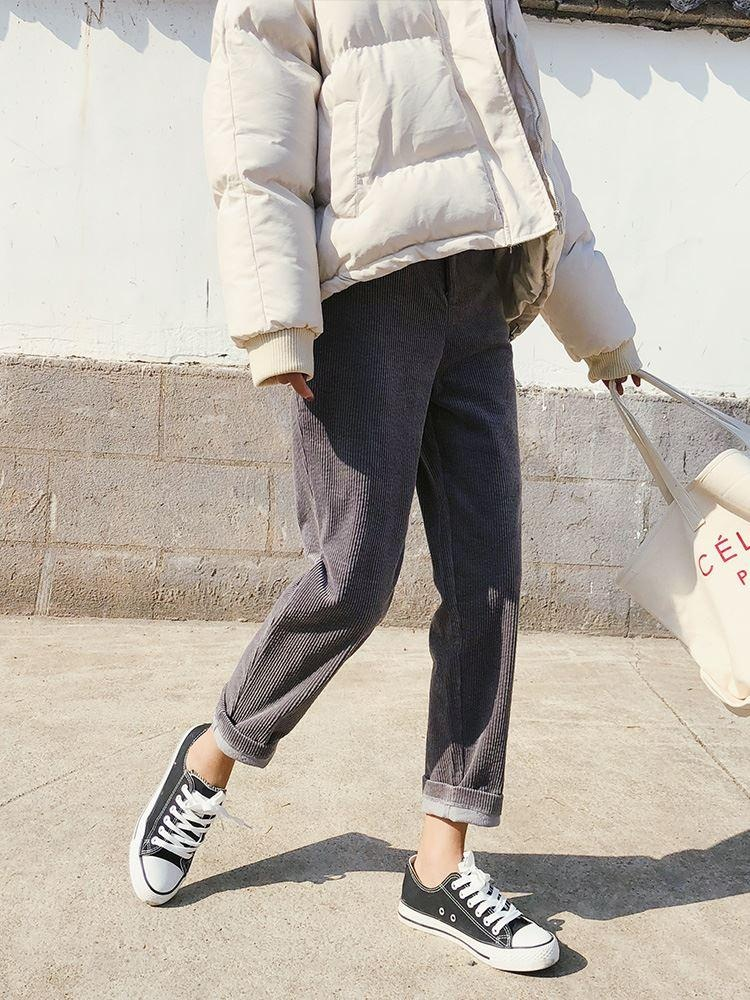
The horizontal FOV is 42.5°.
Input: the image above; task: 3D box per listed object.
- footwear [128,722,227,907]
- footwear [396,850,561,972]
[{"bbox_3d":[-0.297,0.523,1.718,0.108,0.131,0.358,39,35,-16],"label":"footwear"},{"bbox_3d":[0.161,0.655,1.561,0.299,0.120,0.107,2,0,38],"label":"footwear"}]
